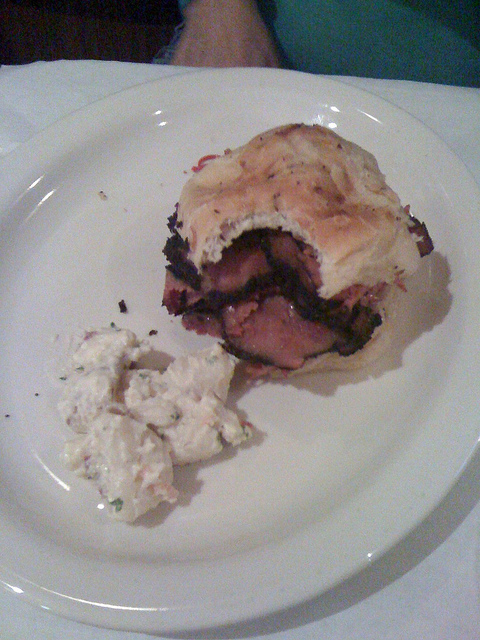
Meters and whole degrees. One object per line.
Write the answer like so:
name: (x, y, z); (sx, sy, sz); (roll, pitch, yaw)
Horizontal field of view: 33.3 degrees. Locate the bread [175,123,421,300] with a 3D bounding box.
bread: (0.179, -0.296, 2.484); (0.601, 0.558, 0.716); (-6, 23, -3)
